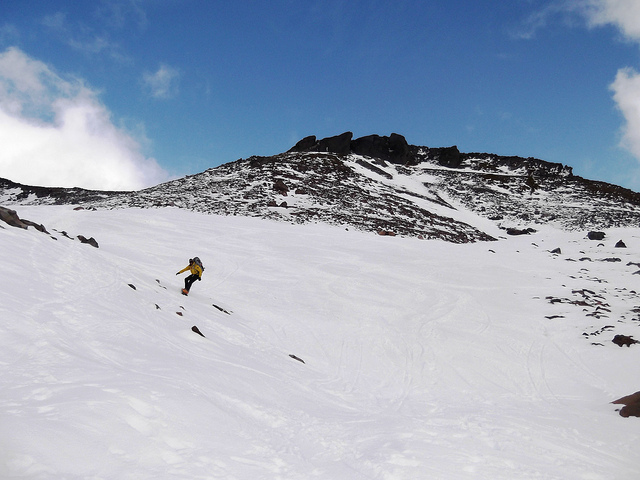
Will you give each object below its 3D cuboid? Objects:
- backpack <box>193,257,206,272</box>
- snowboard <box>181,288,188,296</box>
[{"bbox_3d":[-4.358,0.867,19.755,0.232,0.593,0.477,-41,23,-19],"label":"backpack"},{"bbox_3d":[-4.489,1.712,18.137,0.202,0.220,0.511,6,0,-20],"label":"snowboard"}]
